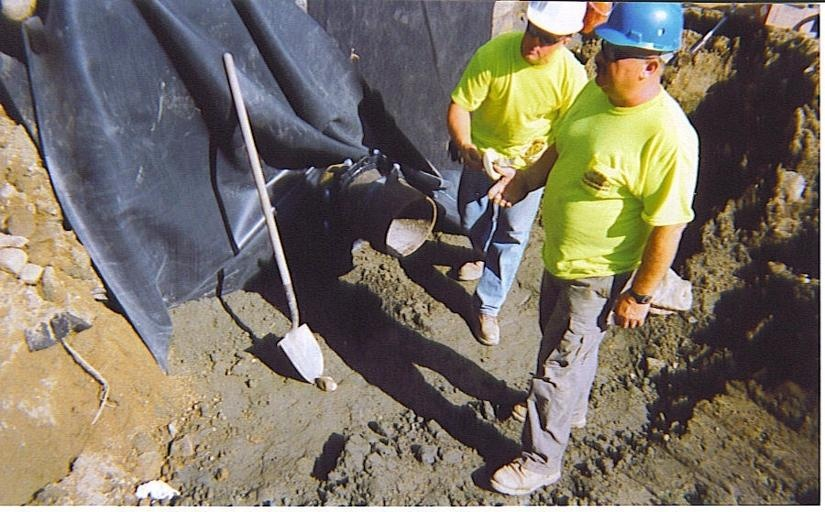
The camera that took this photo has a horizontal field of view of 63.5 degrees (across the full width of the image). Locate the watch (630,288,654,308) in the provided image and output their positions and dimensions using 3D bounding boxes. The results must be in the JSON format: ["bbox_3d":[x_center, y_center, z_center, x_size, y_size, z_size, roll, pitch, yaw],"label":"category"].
[{"bbox_3d":[1.507,0.275,4.371,0.108,0.044,0.110,14,-12,21],"label":"watch"}]

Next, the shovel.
[{"bbox_3d":[-1.227,-0.329,5.050,0.295,0.533,3.215,3,59,-40],"label":"shovel"}]

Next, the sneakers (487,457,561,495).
[{"bbox_3d":[0.772,1.585,4.780,0.501,0.234,0.231,-4,55,-2],"label":"sneakers"}]

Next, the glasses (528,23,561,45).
[{"bbox_3d":[0.957,-1.589,4.857,0.144,0.060,0.183,20,21,-47],"label":"glasses"}]

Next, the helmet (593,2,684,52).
[{"bbox_3d":[1.454,-1.407,4.201,0.407,0.227,0.339,12,37,-25],"label":"helmet"}]

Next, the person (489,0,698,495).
[{"bbox_3d":[1.270,0.061,4.505,0.914,3.192,1.208,12,30,13],"label":"person"}]
